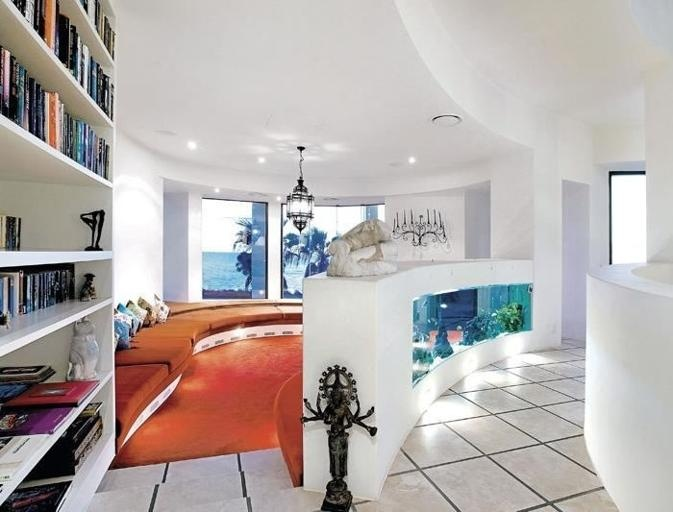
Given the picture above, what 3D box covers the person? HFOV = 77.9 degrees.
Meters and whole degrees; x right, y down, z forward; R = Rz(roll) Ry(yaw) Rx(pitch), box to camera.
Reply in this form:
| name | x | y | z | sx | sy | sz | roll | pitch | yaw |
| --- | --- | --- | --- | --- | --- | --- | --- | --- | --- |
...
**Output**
| name | x | y | z | sx | sy | sz | roll | pitch | yaw |
| --- | --- | --- | --- | --- | --- | --- | --- | --- | --- |
| person | 0.043 | 1.207 | 2.806 | 0.609 | 0.775 | 0.177 | 0 | -3 | 3 |
